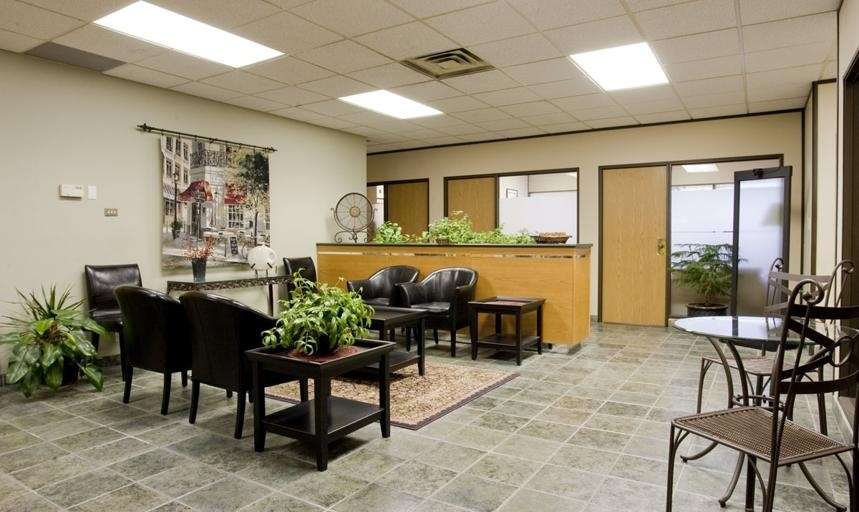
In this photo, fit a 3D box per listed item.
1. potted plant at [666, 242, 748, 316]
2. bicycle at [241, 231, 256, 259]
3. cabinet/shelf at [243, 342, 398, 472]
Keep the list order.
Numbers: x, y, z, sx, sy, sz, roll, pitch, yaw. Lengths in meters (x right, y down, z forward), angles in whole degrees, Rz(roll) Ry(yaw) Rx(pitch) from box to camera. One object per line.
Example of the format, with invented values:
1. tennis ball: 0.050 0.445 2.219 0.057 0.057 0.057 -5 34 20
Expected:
1. potted plant: 4.429 0.429 8.661 1.391 1.215 1.150 0 -3 -4
2. bicycle: -2.644 -0.166 7.673 0.103 0.386 0.262 3 8 21
3. cabinet/shelf: -0.959 1.285 4.729 1.133 0.816 1.066 -4 -4 17
